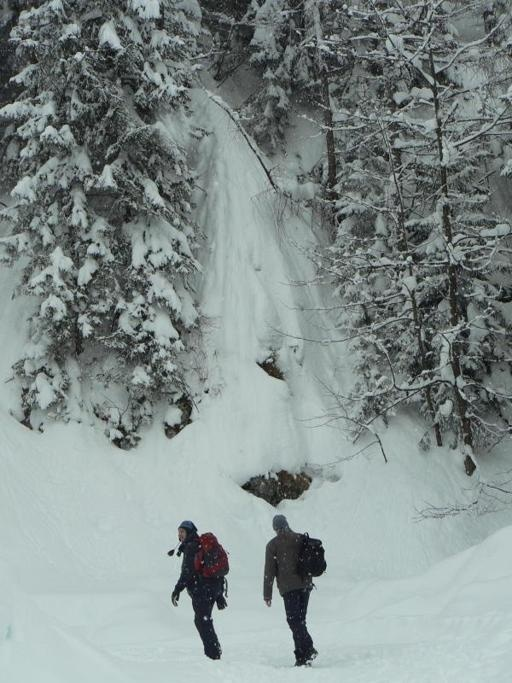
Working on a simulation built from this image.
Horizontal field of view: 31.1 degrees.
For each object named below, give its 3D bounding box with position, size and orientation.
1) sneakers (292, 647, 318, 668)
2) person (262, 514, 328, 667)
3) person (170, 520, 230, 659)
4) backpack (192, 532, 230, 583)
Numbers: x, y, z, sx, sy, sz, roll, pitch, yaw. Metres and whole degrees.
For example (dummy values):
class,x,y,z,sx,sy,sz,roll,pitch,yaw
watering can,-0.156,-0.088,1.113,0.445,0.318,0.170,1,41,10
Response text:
class,x,y,z,sx,sy,sz,roll,pitch,yaw
sneakers,0.631,3.988,11.668,0.213,0.309,0.163,-6,-18,1
person,0.463,3.194,11.948,0.755,1.779,0.641,1,-1,32
person,-0.765,3.262,12.157,0.752,1.707,0.867,1,-1,-3
backpack,-0.598,2.845,12.214,0.283,0.650,0.384,-21,-17,18
